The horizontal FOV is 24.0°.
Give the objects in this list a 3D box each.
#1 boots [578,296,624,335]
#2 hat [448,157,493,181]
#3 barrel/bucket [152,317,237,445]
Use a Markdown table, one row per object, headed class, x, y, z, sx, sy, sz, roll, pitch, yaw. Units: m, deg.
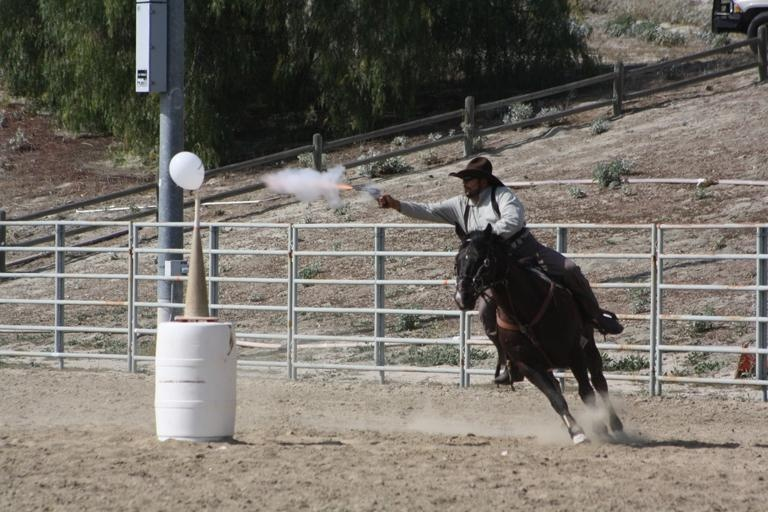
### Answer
| class | x | y | z | sx | sy | sz | roll | pitch | yaw |
| --- | --- | --- | --- | --- | --- | --- | --- | --- | --- |
| boots | 5.412 | 1.509 | 45.113 | 1.153 | 0.390 | 0.451 | 38 | -43 | -22 |
| hat | 2.160 | -2.104 | 43.757 | 0.883 | 0.507 | 0.804 | -9 | 9 | -34 |
| barrel/bucket | -4.614 | 2.998 | 44.144 | 1.713 | 3.024 | 1.673 | 1 | 4 | 0 |
